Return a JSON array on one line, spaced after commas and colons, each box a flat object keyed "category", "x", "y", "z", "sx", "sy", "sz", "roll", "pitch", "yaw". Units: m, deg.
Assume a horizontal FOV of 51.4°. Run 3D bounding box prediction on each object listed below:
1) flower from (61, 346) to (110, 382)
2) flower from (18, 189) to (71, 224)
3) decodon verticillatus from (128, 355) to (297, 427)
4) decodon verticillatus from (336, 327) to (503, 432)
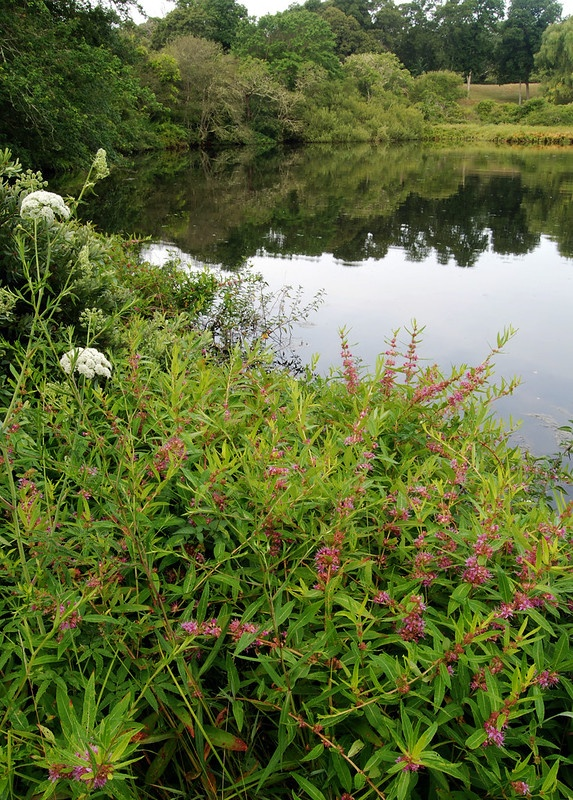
[{"category": "flower", "x": -0.568, "y": -0.117, "z": 1.695, "sx": 0.124, "sy": 0.053, "sz": 0.135, "roll": 21, "pitch": 25, "yaw": -7}, {"category": "flower", "x": -0.846, "y": -0.673, "z": 2.088, "sx": 0.116, "sy": 0.107, "sz": 0.338, "roll": -4, "pitch": 23, "yaw": -7}, {"category": "decodon verticillatus", "x": -0.242, "y": -0.032, "z": 1.835, "sx": 0.337, "sy": 0.167, "sz": 0.351, "roll": 0, "pitch": 0, "yaw": -3}, {"category": "decodon verticillatus", "x": 0.421, "y": -0.053, "z": 1.917, "sx": 0.467, "sy": 0.258, "sz": 0.468, "roll": 10, "pitch": 6, "yaw": -4}]
